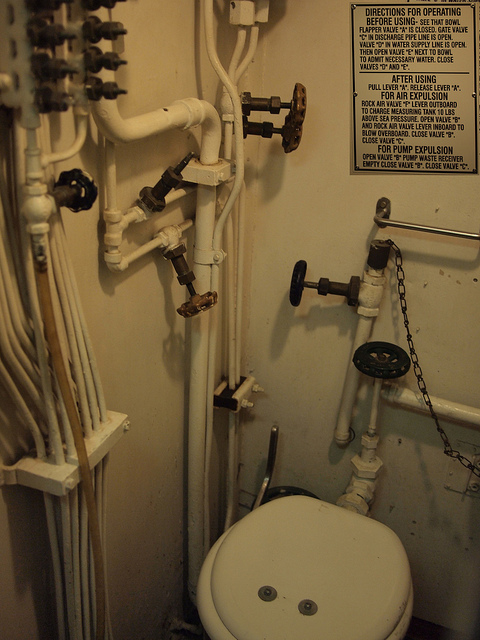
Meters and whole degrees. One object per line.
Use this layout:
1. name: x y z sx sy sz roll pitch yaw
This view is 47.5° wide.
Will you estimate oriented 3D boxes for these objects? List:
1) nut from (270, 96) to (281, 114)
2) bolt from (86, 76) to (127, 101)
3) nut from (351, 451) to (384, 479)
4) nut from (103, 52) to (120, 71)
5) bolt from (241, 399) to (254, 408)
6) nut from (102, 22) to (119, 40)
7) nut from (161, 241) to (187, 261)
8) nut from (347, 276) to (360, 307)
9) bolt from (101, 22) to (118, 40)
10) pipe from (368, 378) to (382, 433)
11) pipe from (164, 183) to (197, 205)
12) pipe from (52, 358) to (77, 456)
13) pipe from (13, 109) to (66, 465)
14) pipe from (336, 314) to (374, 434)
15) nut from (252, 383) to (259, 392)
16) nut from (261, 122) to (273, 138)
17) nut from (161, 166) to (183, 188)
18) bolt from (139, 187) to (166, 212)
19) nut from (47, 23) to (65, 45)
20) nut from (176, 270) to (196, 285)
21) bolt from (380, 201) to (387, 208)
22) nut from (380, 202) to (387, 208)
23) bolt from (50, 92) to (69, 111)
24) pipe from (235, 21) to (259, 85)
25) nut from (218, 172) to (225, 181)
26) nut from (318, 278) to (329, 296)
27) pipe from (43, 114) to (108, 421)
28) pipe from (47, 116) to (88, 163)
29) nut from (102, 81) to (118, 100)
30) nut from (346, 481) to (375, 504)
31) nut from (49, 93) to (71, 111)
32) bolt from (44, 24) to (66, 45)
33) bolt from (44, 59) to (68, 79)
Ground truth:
1. nut: 0.082 -0.495 1.261 0.024 0.036 0.041 4 22 2
2. bolt: -0.175 -0.301 0.710 0.051 0.023 0.020 7 -4 16
3. nut: 0.375 0.424 1.604 0.088 0.051 0.082 1 23 -9
4. nut: -0.164 -0.330 0.705 0.017 0.025 0.021 2 12 7
5. bolt: 0.023 0.253 1.653 0.037 0.012 0.025 17 58 -5
6. nut: -0.166 -0.367 0.695 0.020 0.023 0.017 4 33 0
7. nut: -0.137 -0.143 1.138 0.041 0.031 0.016 -30 73 -40
8. nut: 0.299 -0.076 1.433 0.018 0.053 0.065 8 -16 6
9. bolt: -0.166 -0.371 0.700 0.013 0.020 0.027 14 25 25
10. pipe: 0.374 0.232 1.508 0.021 0.189 0.057 8 21 15
11. pipe: -0.129 -0.268 1.160 0.018 0.021 0.172 -12 18 29
12. pipe: -0.259 0.126 0.805 0.014 0.165 0.014 11 25 38
13. pipe: -0.273 -0.016 0.748 0.035 0.510 0.066 -6 22 -23
14. pipe: 0.308 0.203 1.580 0.047 0.445 0.055 3 19 -21
15. nut: 0.050 0.212 1.735 0.007 0.025 0.016 10 -7 -20
16. nut: 0.067 -0.452 1.299 0.024 0.036 0.053 1 51 1
17. nut: -0.127 -0.262 1.036 0.031 0.033 0.040 -26 80 -46
18. bolt: -0.170 -0.226 1.028 0.057 0.039 0.043 8 23 10
19. nut: -0.209 -0.323 0.619 0.011 0.025 0.014 5 38 14
20. nut: -0.116 -0.090 1.170 0.036 0.033 0.035 -6 24 -23
21. bolt: 0.360 -0.290 1.369 0.011 0.015 0.015 0 39 -46
22. nut: 0.359 -0.290 1.369 0.012 0.012 0.009 33 21 -1
23. bolt: -0.207 -0.250 0.632 0.019 0.023 0.019 -1 5 -5
24. pipe: 0.021 -0.582 1.185 0.021 0.183 0.035 13 -12 9
25. nut: -0.039 -0.303 1.153 0.012 0.014 0.024 0 -2 3
26. nut: 0.222 -0.088 1.449 0.028 0.045 0.032 7 22 10
27. pipe: -0.245 -0.054 0.828 0.032 0.450 0.047 0 23 24
28. pipe: -0.235 -0.251 0.732 0.019 0.080 0.067 37 42 26
29. nut: -0.168 -0.297 0.710 0.015 0.023 0.021 2 5 11
30. nut: 0.343 0.488 1.557 0.028 0.060 0.051 -33 28 -35
31. nut: -0.206 -0.251 0.631 0.020 0.022 0.018 32 47 32
32. bolt: -0.210 -0.323 0.618 0.010 0.020 0.011 -20 51 1
33. bolt: -0.209 -0.285 0.620 0.021 0.025 0.016 -13 21 -29
